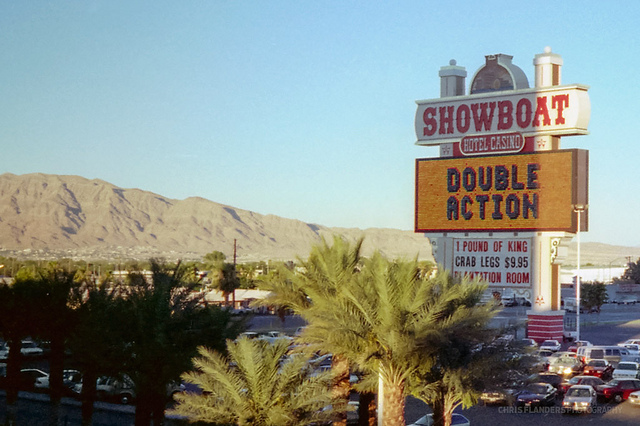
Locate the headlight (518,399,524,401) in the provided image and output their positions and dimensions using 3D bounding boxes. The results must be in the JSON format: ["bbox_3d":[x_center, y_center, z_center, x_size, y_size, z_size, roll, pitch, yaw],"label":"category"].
[{"bbox_3d":[16.883,15.666,73.566,0.308,0.111,0.218,1,0,-10],"label":"headlight"}]

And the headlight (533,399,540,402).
[{"bbox_3d":[18.109,15.624,73.269,0.476,0.207,0.055,2,-2,-8],"label":"headlight"}]

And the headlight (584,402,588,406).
[{"bbox_3d":[21.872,15.737,72.195,0.242,0.234,0.060,4,-1,18],"label":"headlight"}]
